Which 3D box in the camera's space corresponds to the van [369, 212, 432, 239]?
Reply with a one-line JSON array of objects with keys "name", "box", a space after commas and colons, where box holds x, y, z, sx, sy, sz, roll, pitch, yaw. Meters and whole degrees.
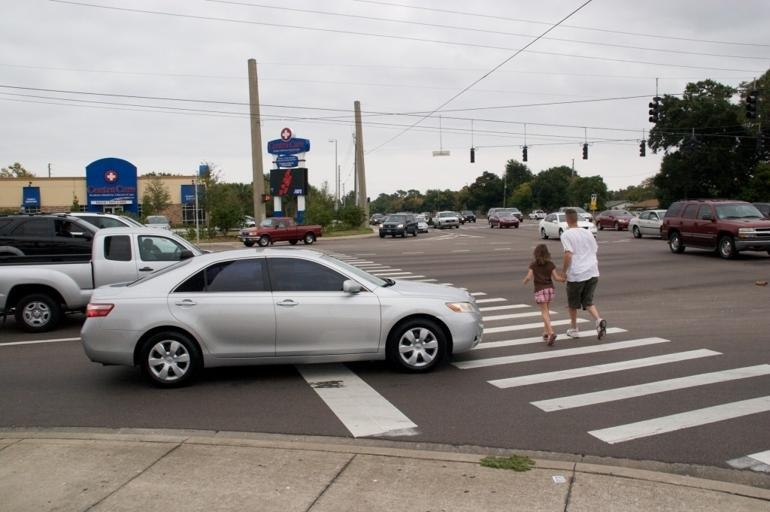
[{"name": "van", "box": [1.257, -2.297, 49.823, 2.116, 1.398, 3.904, -2, -2, 25]}]

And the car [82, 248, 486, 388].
[{"name": "car", "box": [-1.660, 0.882, 11.129, 5.757, 1.812, 2.426, -2, 0, -4]}]

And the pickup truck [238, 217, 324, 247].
[{"name": "pickup truck", "box": [-6.440, -1.499, 41.003, 1.955, 1.500, 4.546, 0, 1, 42]}]

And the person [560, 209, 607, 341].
[{"name": "person", "box": [3.712, 0.333, 12.549, 0.791, 2.435, 0.576, -1, 5, 5]}]

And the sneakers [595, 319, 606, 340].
[{"name": "sneakers", "box": [4.101, 1.356, 12.516, 0.155, 0.404, 0.196, -8, 26, -13]}]

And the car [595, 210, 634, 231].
[{"name": "car", "box": [17.220, -2.705, 49.821, 1.344, 1.030, 2.911, -2, 0, -15]}]

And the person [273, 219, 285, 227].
[{"name": "person", "box": [-6.440, -2.081, 40.606, 0.478, 0.473, 0.881, 4, 2, -1]}]
